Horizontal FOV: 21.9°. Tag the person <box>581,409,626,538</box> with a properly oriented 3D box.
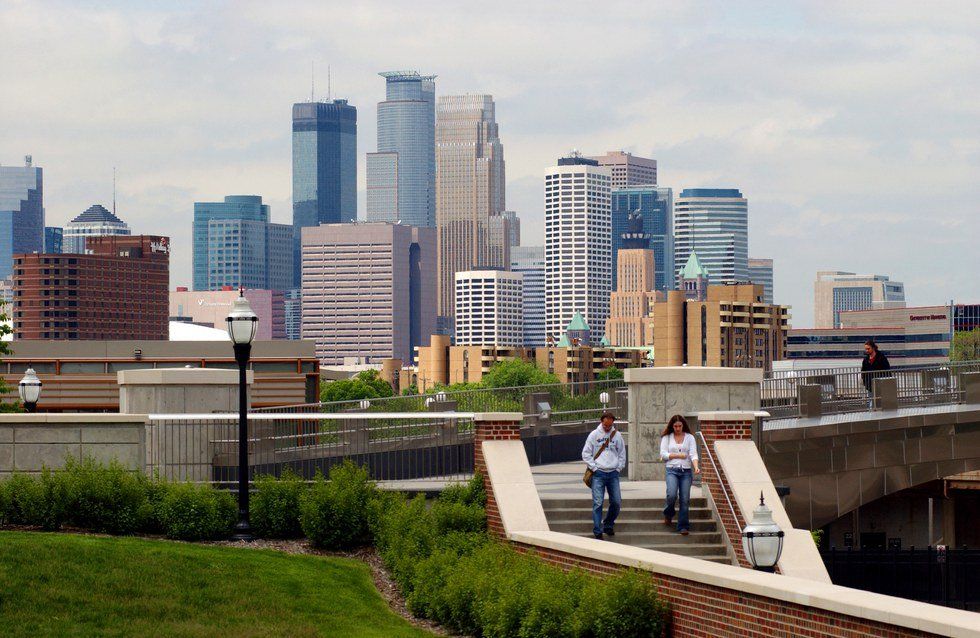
[{"bbox_3d":[3.705,5.036,80.138,1.236,3.942,1.441,-1,-3,5],"label":"person"}]

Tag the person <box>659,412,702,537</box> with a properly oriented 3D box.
[{"bbox_3d":[6.126,5.032,80.574,1.136,3.791,1.322,-1,-3,5],"label":"person"}]
